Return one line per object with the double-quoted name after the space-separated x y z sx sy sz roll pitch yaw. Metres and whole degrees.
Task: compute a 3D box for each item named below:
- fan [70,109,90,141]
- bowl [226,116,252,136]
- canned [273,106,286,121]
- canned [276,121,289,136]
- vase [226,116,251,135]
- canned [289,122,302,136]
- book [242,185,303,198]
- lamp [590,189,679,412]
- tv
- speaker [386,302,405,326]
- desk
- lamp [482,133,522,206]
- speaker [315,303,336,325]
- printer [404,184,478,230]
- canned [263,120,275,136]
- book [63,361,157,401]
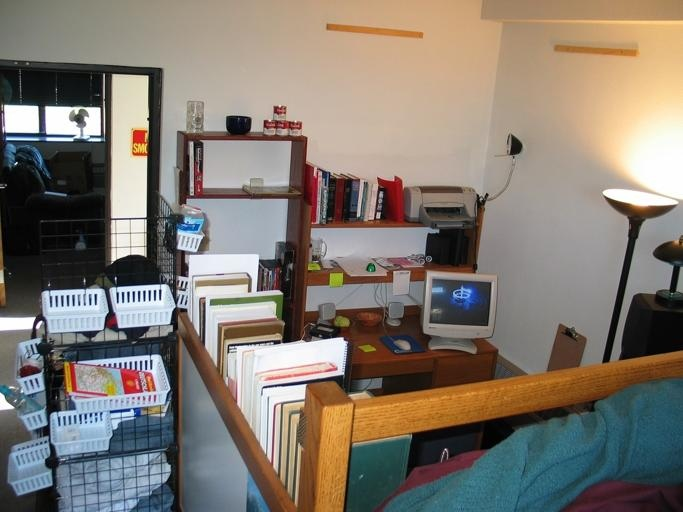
-1.859 -0.930 3.778 0.129 0.227 0.049 3 10 3 "fan"
-0.693 -0.861 3.570 0.142 0.105 0.159 1 11 -5 "bowl"
-0.434 -1.008 3.769 0.096 0.123 0.251 1 10 -7 "canned"
-0.402 -0.889 3.719 0.073 0.107 0.133 7 11 25 "canned"
-0.695 -0.883 3.615 0.157 0.141 0.141 -1 10 -19 "vase"
-0.317 -0.886 3.760 0.106 0.109 0.104 2 2 8 "canned"
-0.507 -0.463 3.847 0.410 0.084 0.302 0 10 -13 "book"
1.737 0.175 3.220 0.398 1.125 0.546 7 11 25 "lamp"
0.813 0.380 3.848 0.506 0.550 0.334 4 5 -1 "tv"
0.414 0.456 4.150 0.161 0.174 0.172 1 7 -9 "speaker"
0.628 0.737 3.997 1.125 1.379 0.832 -12 -4 30 "desk"
1.316 -0.685 4.332 0.117 0.579 0.394 -1 10 -16 "lamp"
-0.118 0.447 4.026 0.156 0.149 0.083 -3 7 -41 "speaker"
0.769 -0.416 4.284 0.609 0.273 0.514 -2 17 -20 "printer"
-0.496 -0.880 3.671 0.083 0.107 0.076 1 10 -8 "canned"
-0.989 0.540 2.287 0.301 0.088 0.176 6 19 -30 "book"
